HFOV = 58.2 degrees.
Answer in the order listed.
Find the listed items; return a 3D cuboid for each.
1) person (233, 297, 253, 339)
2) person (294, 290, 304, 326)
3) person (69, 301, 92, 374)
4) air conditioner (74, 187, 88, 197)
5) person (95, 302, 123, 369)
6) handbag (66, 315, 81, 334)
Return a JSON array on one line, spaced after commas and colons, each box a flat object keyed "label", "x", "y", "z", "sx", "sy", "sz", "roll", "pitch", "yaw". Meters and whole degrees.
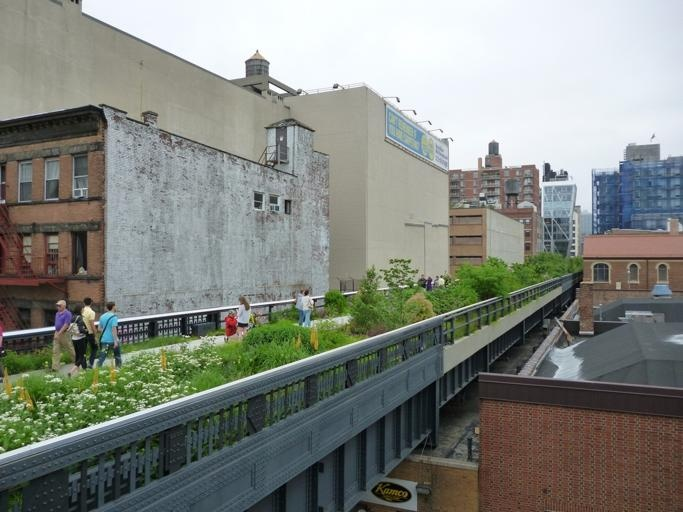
[{"label": "person", "x": -3.571, "y": 2.146, "z": 22.088, "sx": 0.499, "sy": 1.413, "sz": 0.885, "roll": -2, "pitch": 0, "yaw": -11}, {"label": "person", "x": -1.663, "y": 2.066, "z": 25.051, "sx": 0.273, "sy": 1.380, "sz": 0.974, "roll": -2, "pitch": 0, "yaw": -4}, {"label": "person", "x": -7.832, "y": 2.441, "z": 18.260, "sx": 0.498, "sy": 1.853, "sz": 1.464, "roll": -2, "pitch": -1, "yaw": -25}, {"label": "air conditioner", "x": -11.294, "y": -2.801, "z": 26.543, "sx": 0.927, "sy": 0.406, "sz": 0.232, "roll": -4, "pitch": -1, "yaw": 36}, {"label": "person", "x": -7.051, "y": 2.478, "z": 18.668, "sx": 0.689, "sy": 2.286, "sz": 0.712, "roll": 3, "pitch": 11, "yaw": -15}, {"label": "handbag", "x": -8.026, "y": 2.040, "z": 18.351, "sx": 0.416, "sy": 0.607, "sz": 0.300, "roll": 3, "pitch": -9, "yaw": -15}]
